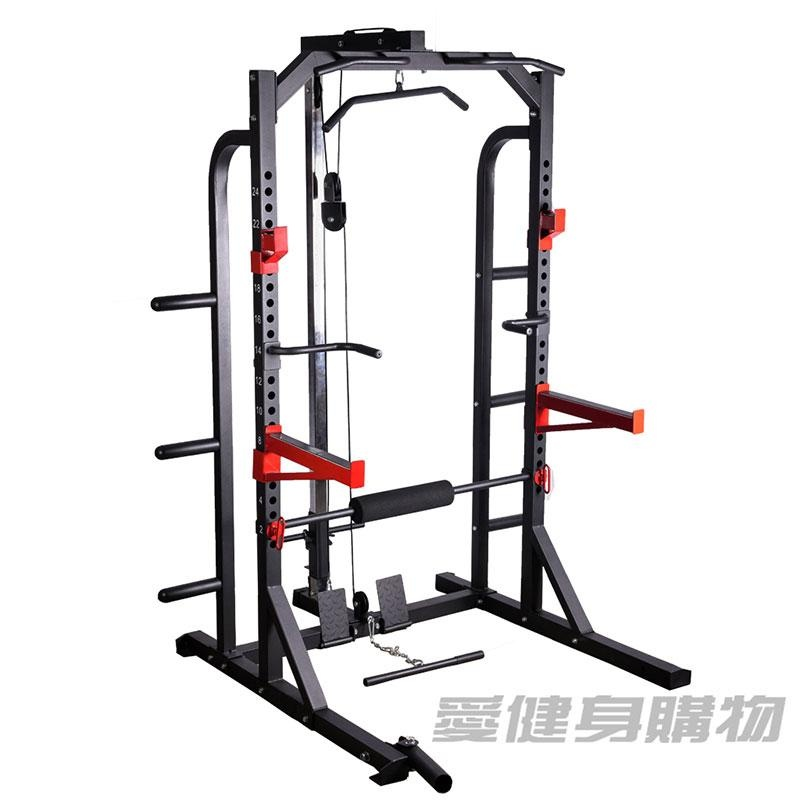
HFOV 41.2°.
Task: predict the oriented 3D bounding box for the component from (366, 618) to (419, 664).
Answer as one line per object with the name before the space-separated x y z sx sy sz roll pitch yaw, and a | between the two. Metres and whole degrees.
component | -0.025 0.839 3.725 0.092 0.129 0.318 -23 -28 22
